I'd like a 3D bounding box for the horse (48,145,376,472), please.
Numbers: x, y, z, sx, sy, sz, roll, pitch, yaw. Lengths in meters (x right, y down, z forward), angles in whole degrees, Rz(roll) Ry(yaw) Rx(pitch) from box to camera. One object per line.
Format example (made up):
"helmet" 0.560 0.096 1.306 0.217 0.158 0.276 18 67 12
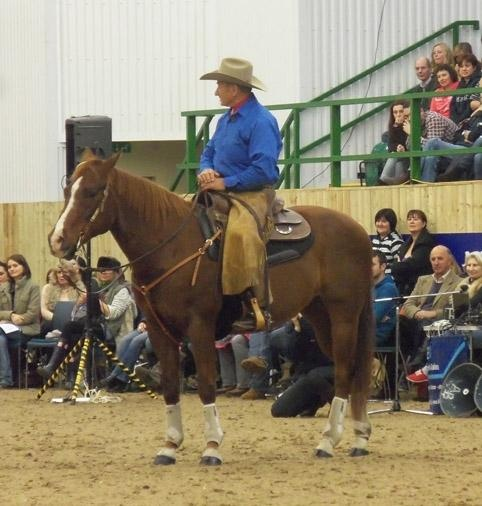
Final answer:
"horse" -0.286 0.183 16.145 2.325 3.265 3.430 -1 16 7

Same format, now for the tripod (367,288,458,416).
"tripod" 1.728 1.080 18.172 0.937 1.567 1.082 -1 8 -2

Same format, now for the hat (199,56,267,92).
"hat" -0.047 -1.728 15.716 0.604 0.322 0.584 8 9 16

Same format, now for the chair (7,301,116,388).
"chair" -2.050 1.085 20.030 0.921 1.009 0.846 -10 13 -34

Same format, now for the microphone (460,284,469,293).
"microphone" 2.431 0.392 17.924 0.063 0.091 0.092 0 -4 6

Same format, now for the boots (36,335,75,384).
"boots" -2.226 1.328 20.114 0.540 0.524 0.204 -5 6 5
